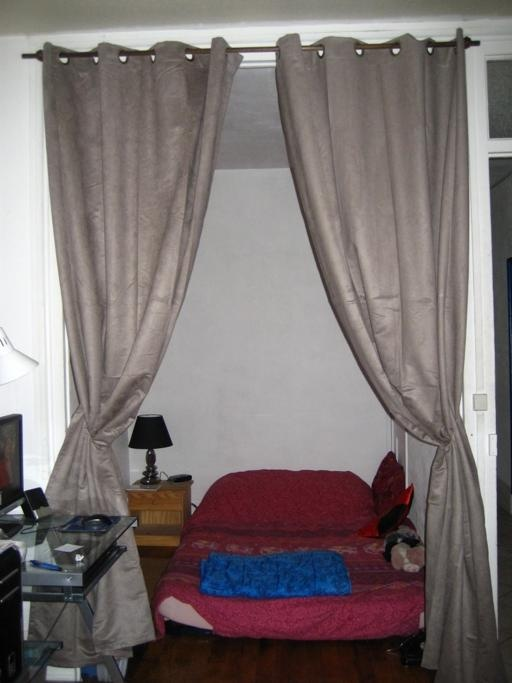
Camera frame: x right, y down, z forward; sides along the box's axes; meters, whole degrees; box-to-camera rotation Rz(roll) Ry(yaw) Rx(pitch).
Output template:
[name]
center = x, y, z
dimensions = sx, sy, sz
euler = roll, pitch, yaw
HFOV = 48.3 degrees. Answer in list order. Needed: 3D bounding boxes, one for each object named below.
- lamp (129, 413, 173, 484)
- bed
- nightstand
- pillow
[lamp]
center = -0.686, 0.688, 3.707
dimensions = 0.228, 0.479, 0.252
euler = -1, 9, -14
[bed]
center = 0.164, 1.062, 2.972
dimensions = 1.154, 0.247, 1.379
euler = -3, 6, 1
[nightstand]
center = -0.630, 1.096, 3.661
dimensions = 0.331, 0.384, 0.318
euler = -1, -1, -6
[pillow]
center = 0.722, 0.907, 2.942
dimensions = 0.197, 0.254, 0.533
euler = -3, 35, 3
